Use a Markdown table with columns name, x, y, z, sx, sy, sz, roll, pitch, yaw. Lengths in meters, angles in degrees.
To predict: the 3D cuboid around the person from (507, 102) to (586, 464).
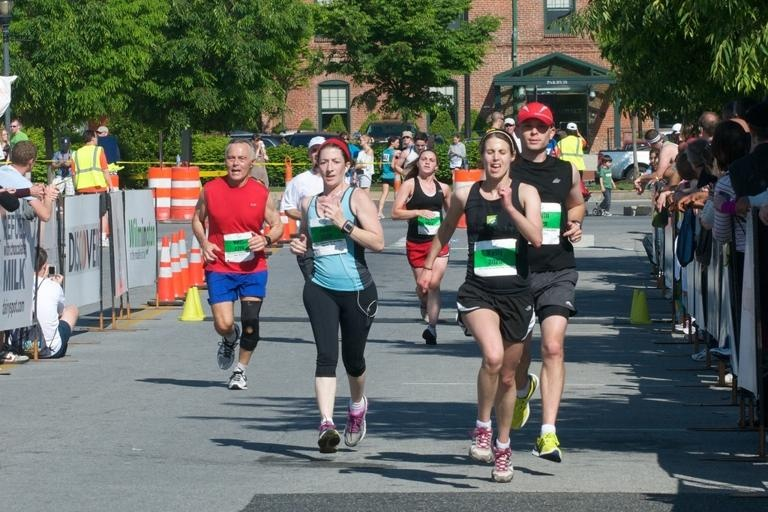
| name | x | y | z | sx | sy | sz | roll | pitch | yaw |
| --- | --- | --- | --- | --- | --- | --- | --- | --- | --- |
| person | 0.982 | 0.104 | 11.257 | 0.954 | 2.670 | 1.367 | 1 | 0 | 12 |

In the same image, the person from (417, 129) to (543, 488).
| name | x | y | z | sx | sy | sz | roll | pitch | yaw |
| --- | --- | --- | --- | --- | --- | --- | --- | --- | --- |
| person | 0.794 | 0.415 | 10.692 | 1.170 | 2.810 | 1.274 | 0 | -1 | 3 |

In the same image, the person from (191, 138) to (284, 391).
| name | x | y | z | sx | sy | sz | roll | pitch | yaw |
| --- | --- | --- | --- | --- | --- | --- | --- | --- | --- |
| person | -1.529 | 0.094 | 13.453 | 0.905 | 2.520 | 0.664 | -2 | 4 | -8 |

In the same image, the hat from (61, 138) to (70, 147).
| name | x | y | z | sx | sy | sz | roll | pitch | yaw |
| --- | --- | --- | --- | --- | --- | --- | --- | --- | --- |
| hat | -7.552 | -2.589 | 30.450 | 0.171 | 0.127 | 0.234 | 4 | 46 | -6 |

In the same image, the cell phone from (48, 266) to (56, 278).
| name | x | y | z | sx | sy | sz | roll | pitch | yaw |
| --- | --- | --- | --- | --- | --- | --- | --- | --- | --- |
| cell phone | -4.756 | 0.252 | 18.393 | 0.128 | 0.113 | 0.215 | -5 | 37 | -7 |

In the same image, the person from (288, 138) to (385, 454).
| name | x | y | z | sx | sy | sz | roll | pitch | yaw |
| --- | --- | --- | --- | --- | --- | --- | --- | --- | --- |
| person | -0.385 | 0.341 | 11.285 | 0.776 | 2.670 | 0.876 | -2 | 4 | -10 |
